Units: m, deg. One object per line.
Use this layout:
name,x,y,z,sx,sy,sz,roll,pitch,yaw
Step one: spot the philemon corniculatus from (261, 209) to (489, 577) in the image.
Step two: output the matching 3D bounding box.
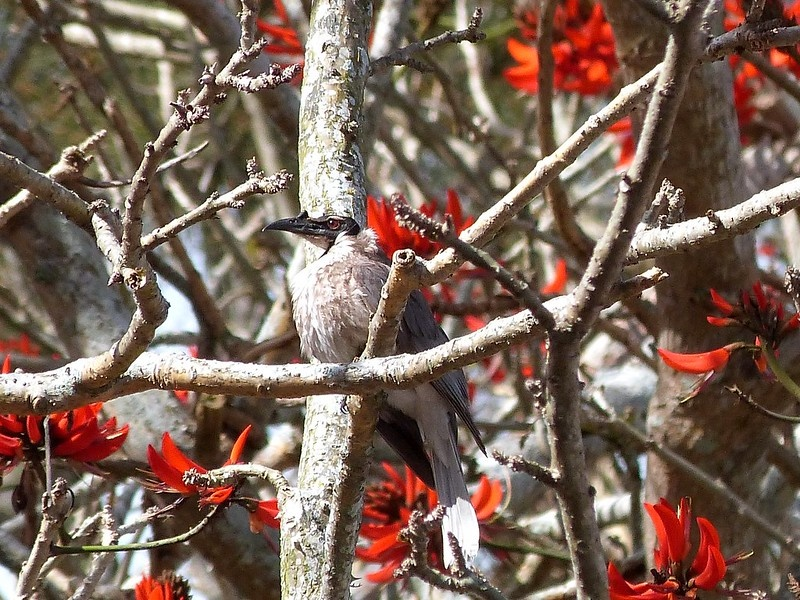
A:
philemon corniculatus,-0.089,0.256,5.325,0.928,1.403,0.469,21,-45,-27
